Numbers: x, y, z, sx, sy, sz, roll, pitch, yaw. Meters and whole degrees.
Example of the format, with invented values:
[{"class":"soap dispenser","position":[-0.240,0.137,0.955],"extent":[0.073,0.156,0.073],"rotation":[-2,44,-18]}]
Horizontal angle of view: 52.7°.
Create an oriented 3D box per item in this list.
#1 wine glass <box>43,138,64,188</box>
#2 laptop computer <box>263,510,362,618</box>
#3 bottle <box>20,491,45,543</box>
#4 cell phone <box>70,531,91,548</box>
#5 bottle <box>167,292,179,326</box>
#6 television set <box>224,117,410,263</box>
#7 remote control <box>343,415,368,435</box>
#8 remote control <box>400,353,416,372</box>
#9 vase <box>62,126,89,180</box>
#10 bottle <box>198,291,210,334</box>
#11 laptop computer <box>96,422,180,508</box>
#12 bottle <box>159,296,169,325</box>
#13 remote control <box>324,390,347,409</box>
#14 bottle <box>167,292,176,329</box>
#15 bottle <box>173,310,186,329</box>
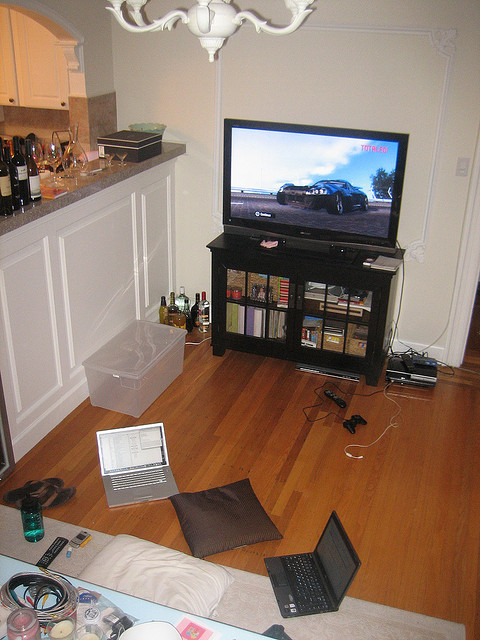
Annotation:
[{"class":"wine glass","position":[-0.998,-0.849,2.594],"extent":[0.097,0.219,0.477],"rotation":[-5,22,-19]},{"class":"laptop computer","position":[0.245,0.866,1.723],"extent":[0.314,0.206,0.313],"rotation":[7,17,3]},{"class":"bottle","position":[-0.858,0.783,1.996],"extent":[0.080,0.269,0.157],"rotation":[-7,22,-24]},{"class":"cell phone","position":[-0.656,0.905,1.988],"extent":[0.051,0.012,0.076],"rotation":[13,23,23]},{"class":"bottle","position":[-0.511,-0.107,3.716],"extent":[0.086,0.262,0.188],"rotation":[-1,20,-8]},{"class":"television set","position":[0.520,-0.830,3.038],"extent":[0.866,0.644,0.244],"rotation":[13,40,13]},{"class":"remote control","position":[0.672,0.599,2.813],"extent":[0.166,0.059,0.088],"rotation":[-14,27,-38]},{"class":"remote control","position":[1.139,0.289,3.261],"extent":[0.037,0.040,0.147],"rotation":[-17,32,10]},{"class":"vase","position":[-0.923,-0.934,2.703],"extent":[0.170,0.296,0.176],"rotation":[-2,9,-15]},{"class":"bottle","position":[-0.279,-0.060,3.772],"extent":[0.089,0.325,0.111],"rotation":[1,20,-5]},{"class":"laptop computer","position":[-0.486,0.695,2.316],"extent":[0.342,0.243,0.306],"rotation":[-6,22,-21]},{"class":"bottle","position":[-0.568,-0.068,3.626],"extent":[0.070,0.252,0.197],"rotation":[-1,21,-9]},{"class":"remote control","position":[0.589,0.489,3.005],"extent":[0.058,0.053,0.158],"rotation":[-32,54,-26]},{"class":"bottle","position":[-0.517,-0.091,3.675],"extent":[0.060,0.262,0.103],"rotation":[-2,20,-11]},{"class":"bottle","position":[-0.457,0.003,3.644],"extent":[0.085,0.158,0.089],"rotation":[1,23,-1]}]
